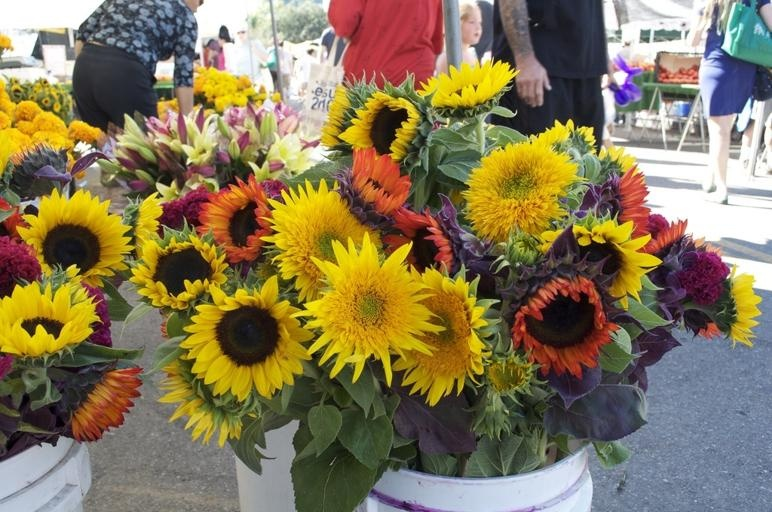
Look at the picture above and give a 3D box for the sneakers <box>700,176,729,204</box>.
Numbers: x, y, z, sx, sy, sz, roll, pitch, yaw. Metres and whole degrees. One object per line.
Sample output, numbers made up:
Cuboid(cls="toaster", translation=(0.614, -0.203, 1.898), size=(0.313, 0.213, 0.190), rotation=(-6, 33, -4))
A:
Cuboid(cls="sneakers", translation=(2.902, -0.572, 6.033), size=(0.121, 0.308, 0.204), rotation=(-16, 27, 18))
